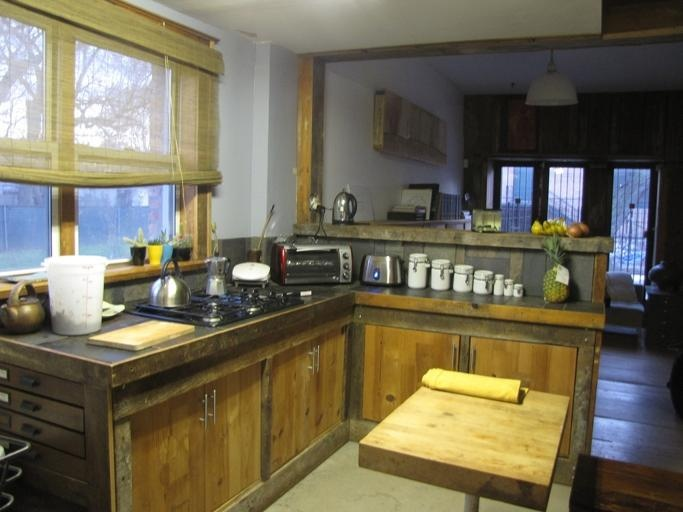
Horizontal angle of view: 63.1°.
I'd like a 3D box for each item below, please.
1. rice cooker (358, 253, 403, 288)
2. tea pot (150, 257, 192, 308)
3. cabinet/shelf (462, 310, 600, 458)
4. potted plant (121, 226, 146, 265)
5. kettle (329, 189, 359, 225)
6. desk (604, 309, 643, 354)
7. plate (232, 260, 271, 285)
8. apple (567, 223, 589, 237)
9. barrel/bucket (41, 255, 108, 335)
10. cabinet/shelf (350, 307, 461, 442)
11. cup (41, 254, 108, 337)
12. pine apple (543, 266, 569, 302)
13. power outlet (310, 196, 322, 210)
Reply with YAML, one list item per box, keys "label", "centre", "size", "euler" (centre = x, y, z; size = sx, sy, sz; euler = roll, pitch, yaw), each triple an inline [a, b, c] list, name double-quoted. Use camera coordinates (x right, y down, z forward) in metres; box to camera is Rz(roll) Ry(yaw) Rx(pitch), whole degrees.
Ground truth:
- label: "rice cooker"
  centre: [0.316, 0.107, 4.385]
  size: [0.342, 0.241, 0.257]
  euler: [4, 2, 28]
- label: "tea pot"
  centre: [-0.964, 0.125, 3.258]
  size: [0.253, 0.303, 0.272]
  euler: [3, 6, 0]
- label: "cabinet/shelf"
  centre: [1.110, 0.701, 3.173]
  size: [0.908, 0.948, 0.535]
  euler: [2, 0, 24]
- label: "potted plant"
  centre: [-1.317, -0.066, 3.579]
  size: [0.134, 0.226, 0.230]
  euler: [-3, 8, -20]
- label: "kettle"
  centre: [0.020, -0.421, 4.741]
  size: [0.180, 0.275, 0.203]
  euler: [1, 7, 8]
- label: "desk"
  centre: [3.628, 0.919, 7.179]
  size: [0.528, 0.480, 0.550]
  euler: [1, -1, 26]
- label: "plate"
  centre: [-0.655, 0.126, 4.017]
  size: [0.224, 0.150, 0.202]
  euler: [7, 10, 42]
- label: "apple"
  centre: [1.731, -0.190, 4.023]
  size: [0.222, 0.094, 0.103]
  euler: [-5, 9, -31]
- label: "barrel/bucket"
  centre: [-1.273, 0.166, 2.809]
  size: [0.367, 0.394, 0.331]
  euler: [-1, 1, -20]
- label: "cabinet/shelf"
  centre: [0.417, 0.680, 3.508]
  size: [0.892, 0.911, 0.366]
  euler: [3, 4, 24]
- label: "cup"
  centre: [-1.283, 0.172, 2.817]
  size: [0.374, 0.400, 0.330]
  euler: [-1, 1, -24]
- label: "pine apple"
  centre: [1.490, 0.190, 3.874]
  size: [0.158, 0.260, 0.117]
  euler: [2, 8, 15]
- label: "power outlet"
  centre: [-0.218, -0.437, 4.613]
  size: [0.090, 0.123, 0.028]
  euler: [-2, -11, 1]
